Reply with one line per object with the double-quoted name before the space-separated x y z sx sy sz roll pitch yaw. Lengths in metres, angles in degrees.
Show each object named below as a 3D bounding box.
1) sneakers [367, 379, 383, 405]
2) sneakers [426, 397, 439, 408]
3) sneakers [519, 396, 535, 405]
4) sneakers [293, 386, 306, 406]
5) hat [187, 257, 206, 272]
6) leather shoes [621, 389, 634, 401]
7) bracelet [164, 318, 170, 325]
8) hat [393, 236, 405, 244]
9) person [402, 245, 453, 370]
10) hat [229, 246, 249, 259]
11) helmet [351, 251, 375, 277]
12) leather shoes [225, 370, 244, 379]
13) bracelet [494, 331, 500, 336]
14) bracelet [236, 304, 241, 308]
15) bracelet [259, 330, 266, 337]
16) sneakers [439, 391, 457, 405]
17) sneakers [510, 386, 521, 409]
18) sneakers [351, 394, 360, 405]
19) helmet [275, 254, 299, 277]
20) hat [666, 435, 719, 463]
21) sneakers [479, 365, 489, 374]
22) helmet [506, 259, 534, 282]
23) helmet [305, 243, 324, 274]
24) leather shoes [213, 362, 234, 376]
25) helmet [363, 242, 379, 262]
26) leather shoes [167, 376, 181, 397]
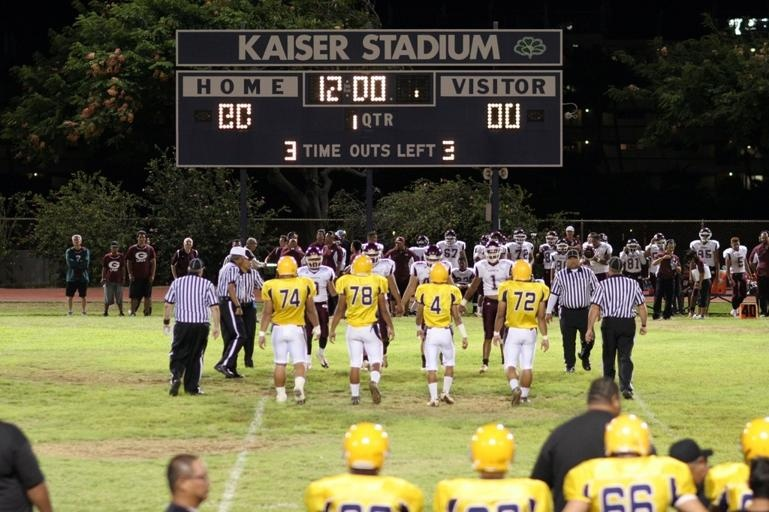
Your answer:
"sneakers" -0.180 2.886 22.912 0.204 0.528 0.233 -8 3 -2
"sneakers" 1.027 3.080 22.916 0.096 0.116 0.285 -2 5 -19
"sneakers" 2.959 3.047 22.966 0.333 0.145 0.112 -5 15 -9
"sneakers" -1.765 2.927 22.864 0.215 0.354 0.163 -4 3 2
"hat" -4.053 0.254 23.708 0.387 0.324 0.582 2 21 -7
"leather shoes" 5.098 2.926 23.057 0.129 0.193 0.312 0 -6 3
"bracelet" -4.699 1.431 23.751 0.164 0.118 0.134 0 5 13
"hat" 0.476 -0.480 33.338 0.409 0.254 0.586 1 -6 1
"person" 0.896 1.130 24.908 1.481 2.708 0.570 2 2 -10
"hat" -3.251 -0.074 24.938 0.392 0.206 0.276 0 5 -14
"helmet" -0.465 0.167 23.052 0.340 0.391 0.449 2 13 -2
"leather shoes" -3.388 2.719 24.986 0.444 0.191 0.154 0 4 4
"bracelet" 2.400 1.666 23.316 0.099 0.087 0.112 1 -3 0
"bracelet" -3.272 1.130 24.755 0.056 0.080 0.139 1 12 5
"bracelet" -2.573 1.655 23.098 0.156 0.159 0.159 -1 3 9
"sneakers" 1.321 3.017 23.001 0.172 0.152 0.343 2 2 20
"sneakers" 2.727 2.960 22.753 0.153 0.439 0.186 -3 31 -12
"sneakers" -0.593 3.050 22.965 0.133 0.185 0.187 0 -16 -7
"helmet" -2.018 0.193 22.880 0.324 0.374 0.450 2 10 -2
"hat" 4.761 3.021 17.157 0.551 0.276 0.358 -12 13 -2
"sneakers" 2.321 2.676 25.637 0.176 0.110 0.252 -1 4 3
"helmet" 2.906 0.301 22.994 0.358 0.471 0.483 -3 20 -14
"helmet" -1.570 0.033 24.883 0.369 0.434 0.522 0 -8 -6
"leather shoes" -3.629 2.605 25.006 0.330 0.163 0.117 43 -31 -12
"helmet" -0.282 -0.062 25.063 0.334 0.417 0.423 0 2 -6
"leather shoes" -4.493 2.823 23.610 0.242 0.414 0.212 16 -3 1
